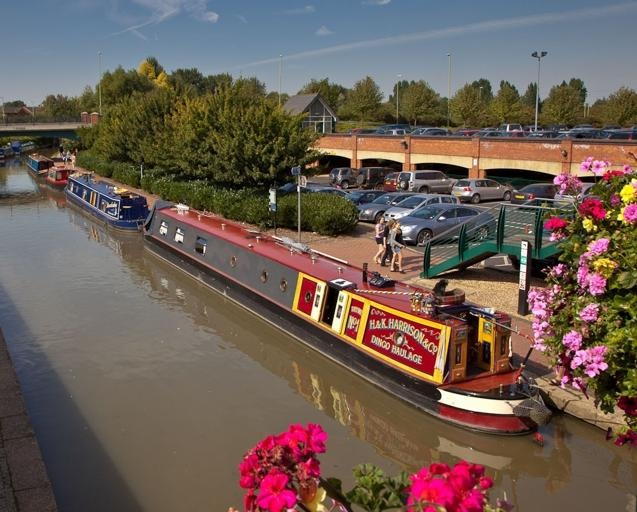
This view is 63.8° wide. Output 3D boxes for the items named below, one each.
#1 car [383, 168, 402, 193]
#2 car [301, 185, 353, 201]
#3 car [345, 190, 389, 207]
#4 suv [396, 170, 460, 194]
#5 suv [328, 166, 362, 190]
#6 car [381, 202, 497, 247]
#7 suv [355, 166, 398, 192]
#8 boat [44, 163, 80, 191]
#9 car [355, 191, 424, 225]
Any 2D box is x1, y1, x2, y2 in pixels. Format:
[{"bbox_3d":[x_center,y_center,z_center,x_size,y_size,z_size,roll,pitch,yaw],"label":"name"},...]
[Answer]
[{"bbox_3d":[4.926,-4.947,33.939,1.001,0.928,1.739,8,22,30],"label":"car"},{"bbox_3d":[0.430,-3.400,26.512,1.980,0.942,1.187,-10,19,-27],"label":"car"},{"bbox_3d":[2.640,-3.272,28.177,2.274,0.815,1.063,-2,14,-18],"label":"car"},{"bbox_3d":[6.989,-4.757,32.711,3.462,1.491,1.710,-7,17,-20],"label":"suv"},{"bbox_3d":[1.895,-5.704,37.641,2.129,1.419,1.042,1,11,4],"label":"suv"},{"bbox_3d":[5.363,-1.264,20.408,3.594,1.408,1.714,-1,4,-15],"label":"car"},{"bbox_3d":[4.048,-5.854,38.409,2.757,1.420,1.592,-17,23,-29],"label":"suv"},{"bbox_3d":[-22.141,-6.748,44.130,3.055,2.074,5.500,-6,16,-37],"label":"boat"},{"bbox_3d":[3.308,-2.447,25.712,2.953,1.081,1.346,-8,11,-35],"label":"car"}]
